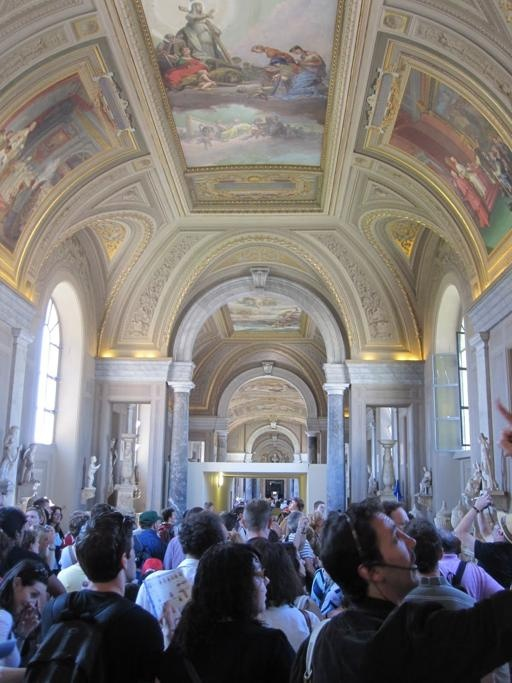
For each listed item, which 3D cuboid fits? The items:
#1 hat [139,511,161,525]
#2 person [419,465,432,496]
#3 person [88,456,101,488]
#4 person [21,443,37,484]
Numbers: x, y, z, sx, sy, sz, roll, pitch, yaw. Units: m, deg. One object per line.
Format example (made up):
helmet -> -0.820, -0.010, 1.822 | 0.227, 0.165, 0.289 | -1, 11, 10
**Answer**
hat -> -1.276, 2.129, 5.389 | 0.182, 0.093, 0.257 | 2, 2, 4
person -> 4.825, 3.965, 12.527 | 0.388, 0.761, 0.266 | -5, -17, 19
person -> -4.840, 3.897, 13.209 | 0.345, 0.914, 0.922 | 5, -16, -16
person -> -5.101, 2.754, 9.939 | 0.341, 0.900, 0.368 | -11, -20, 36
